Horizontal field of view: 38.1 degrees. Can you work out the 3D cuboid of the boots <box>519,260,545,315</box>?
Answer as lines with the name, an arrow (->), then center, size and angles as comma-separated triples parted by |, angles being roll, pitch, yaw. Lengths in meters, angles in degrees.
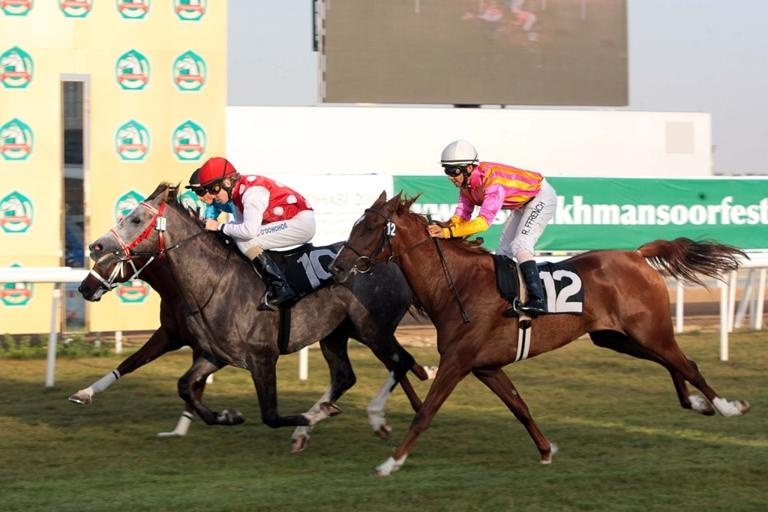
boots -> 1.165, 0.244, 8.840 | 0.209, 0.414, 0.233 | 1, 5, 3

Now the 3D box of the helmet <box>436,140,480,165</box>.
helmet -> 0.587, -0.824, 8.967 | 0.308, 0.118, 0.202 | 5, 5, -20

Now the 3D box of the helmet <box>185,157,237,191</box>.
helmet -> -1.389, -0.661, 9.072 | 0.396, 0.163, 0.261 | -13, 2, -20

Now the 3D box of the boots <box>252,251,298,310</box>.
boots -> -0.889, 0.202, 8.918 | 0.346, 0.436, 0.134 | 1, 5, 3

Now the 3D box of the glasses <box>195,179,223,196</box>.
glasses -> -1.412, -0.547, 8.981 | 0.202, 0.079, 0.130 | -12, 9, -12
